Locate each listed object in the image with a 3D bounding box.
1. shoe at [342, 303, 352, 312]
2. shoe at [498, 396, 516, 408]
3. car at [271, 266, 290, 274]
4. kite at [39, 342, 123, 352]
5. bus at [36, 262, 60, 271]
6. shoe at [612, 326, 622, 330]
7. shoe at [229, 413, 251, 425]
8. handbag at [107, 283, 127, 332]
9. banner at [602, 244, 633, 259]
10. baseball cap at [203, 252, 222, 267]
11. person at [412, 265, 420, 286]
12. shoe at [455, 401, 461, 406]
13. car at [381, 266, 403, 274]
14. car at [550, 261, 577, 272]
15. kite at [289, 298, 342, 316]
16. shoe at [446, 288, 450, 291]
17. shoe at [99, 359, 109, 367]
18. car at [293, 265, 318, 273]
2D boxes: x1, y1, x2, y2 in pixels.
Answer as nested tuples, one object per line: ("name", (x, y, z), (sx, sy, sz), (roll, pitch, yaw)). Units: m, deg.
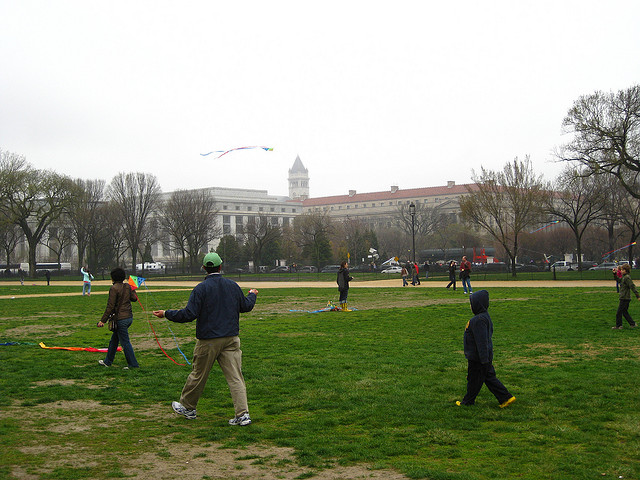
("shoe", (0.991, 2.404, 25.175), (0.334, 0.309, 0.999), (-4, -1, 1))
("shoe", (3.073, 2.641, 11.257), (0.306, 0.130, 0.114), (-37, 10, 13))
("car", (-4.936, 3.708, 88.306), (1.769, 0.871, 1.068), (2, -4, 1))
("kite", (-5.706, 2.514, 16.206), (1.936, 0.175, 0.477), (-4, -1, 21))
("bus", (-36.494, 3.340, 92.303), (2.302, 0.979, 14.251), (-4, -1, -23))
("shoe", (7.849, 2.299, 18.277), (0.255, 0.113, 0.088), (3, -5, 15))
("shoe", (-1.194, 2.727, 10.568), (0.353, 0.165, 0.134), (1, -2, 19))
("handbag", (-4.049, 1.332, 13.874), (0.393, 0.874, 0.274), (-4, -1, -17))
("banner", (24.043, 0.806, 55.531), (1.663, 1.168, 25.211), (-4, -1, 23))
("baseball cap", (-1.691, 0.297, 10.835), (0.253, 0.212, 0.333), (-4, -1, 1))
("person", (6.337, 2.301, 45.795), (0.408, 1.333, 1.428), (-4, -1, 8))
("shoe", (2.271, 2.674, 11.350), (0.075, 0.062, 0.141), (-4, -1, -3))
("car", (8.248, 3.291, 78.344), (3.131, 1.070, 1.464), (2, -2, -1))
("car", (26.356, 2.793, 74.994), (2.070, 0.909, 1.383), (0, 0, -9))
("kite", (-0.173, 2.531, 26.603), (1.865, 0.188, 5.432), (-4, -1, -2))
("shoe", (7.065, 2.673, 38.151), (0.172, 0.164, 0.044), (6, 1, -25))
("shoe", (-4.508, 2.523, 14.322), (0.079, 0.202, 0.068), (-49, -10, 21))
("car", (-1.873, 3.678, 88.362), (2.205, 0.763, 1.071), (2, -2, 15))
